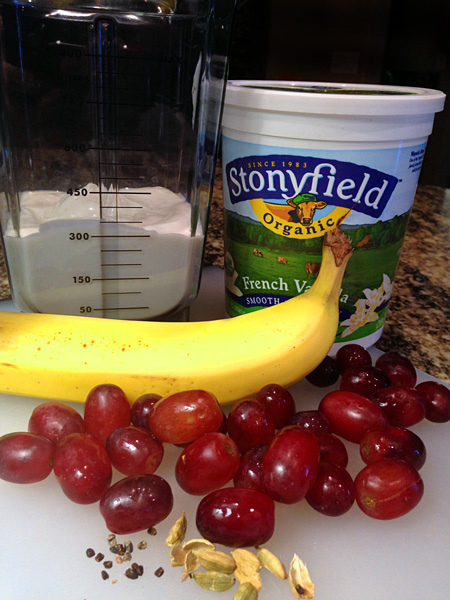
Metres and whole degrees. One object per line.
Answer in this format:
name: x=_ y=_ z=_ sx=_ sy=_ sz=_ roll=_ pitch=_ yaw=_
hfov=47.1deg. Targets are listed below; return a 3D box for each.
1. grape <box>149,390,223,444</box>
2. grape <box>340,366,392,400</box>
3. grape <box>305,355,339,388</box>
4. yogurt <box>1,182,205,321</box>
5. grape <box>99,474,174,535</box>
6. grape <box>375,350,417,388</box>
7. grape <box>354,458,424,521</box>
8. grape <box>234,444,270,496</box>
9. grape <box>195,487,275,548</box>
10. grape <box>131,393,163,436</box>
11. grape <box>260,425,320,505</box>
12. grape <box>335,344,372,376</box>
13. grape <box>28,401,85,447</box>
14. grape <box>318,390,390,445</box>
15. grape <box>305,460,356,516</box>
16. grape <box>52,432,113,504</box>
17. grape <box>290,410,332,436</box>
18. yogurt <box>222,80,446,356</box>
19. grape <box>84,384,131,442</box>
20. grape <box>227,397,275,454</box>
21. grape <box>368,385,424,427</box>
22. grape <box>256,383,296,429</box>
grape: x=-0.036 y=0.113 z=0.508 sx=0.067 sy=0.045 sz=0.045 roll=-5 pitch=-6 yaw=4
grape: x=0.165 y=0.093 z=0.602 sx=0.048 sy=0.034 sz=0.035 roll=11 pitch=61 yaw=21
grape: x=0.125 y=0.093 z=0.647 sx=0.035 sy=0.043 sz=0.034 roll=9 pitch=20 yaw=-11
yogurt: x=-0.139 y=-0.065 z=0.644 sx=0.218 sy=0.103 sz=0.154 roll=-2 pitch=18 yaw=-7
grape: x=-0.081 y=0.182 z=0.465 sx=0.072 sy=0.040 sz=0.050 roll=-11 pitch=48 yaw=-25
grape: x=0.213 y=0.086 z=0.641 sx=0.053 sy=0.037 sz=0.053 roll=-5 pitch=21 yaw=-26
grape: x=0.151 y=0.177 z=0.483 sx=0.046 sy=0.051 sz=0.047 roll=-10 pitch=34 yaw=-29
grape: x=0.022 y=0.163 z=0.489 sx=0.032 sy=0.031 sz=0.041 roll=3 pitch=-2 yaw=-2
grape: x=0.009 y=0.192 z=0.452 sx=0.068 sy=0.047 sz=0.047 roll=2 pitch=28 yaw=-7
grape: x=-0.084 y=0.119 z=0.538 sx=0.036 sy=0.039 sz=0.033 roll=8 pitch=-21 yaw=-8
grape: x=0.062 y=0.152 z=0.485 sx=0.052 sy=0.055 sz=0.072 roll=12 pitch=61 yaw=18
grape: x=0.158 y=0.073 z=0.657 sx=0.041 sy=0.044 sz=0.039 roll=-7 pitch=0 yaw=-1
grape: x=-0.170 y=0.123 z=0.532 sx=0.050 sy=0.035 sz=0.036 roll=13 pitch=49 yaw=1
grape: x=0.143 y=0.122 z=0.567 sx=0.080 sy=0.043 sz=0.046 roll=3 pitch=30 yaw=26
grape: x=0.095 y=0.172 z=0.488 sx=0.039 sy=0.038 sz=0.049 roll=20 pitch=36 yaw=-39
grape: x=-0.133 y=0.157 z=0.484 sx=0.045 sy=0.043 sz=0.057 roll=-19 pitch=38 yaw=-39
grape: x=0.088 y=0.128 z=0.542 sx=0.033 sy=0.018 sz=0.025 roll=17 pitch=33 yaw=31
yogurt: x=0.113 y=-0.124 z=0.735 sx=0.318 sy=0.351 sz=0.261 roll=-5 pitch=27 yaw=-19
grape: x=-0.117 y=0.110 z=0.528 sx=0.056 sy=0.066 sz=0.055 roll=-2 pitch=-3 yaw=-7
grape: x=0.027 y=0.124 z=0.528 sx=0.044 sy=0.054 sz=0.043 roll=-4 pitch=0 yaw=11
grape: x=0.187 y=0.114 z=0.568 sx=0.053 sy=0.037 sz=0.038 roll=3 pitch=-1 yaw=20
grape: x=0.056 y=0.115 z=0.564 sx=0.049 sy=0.055 sz=0.045 roll=6 pitch=-13 yaw=-7
